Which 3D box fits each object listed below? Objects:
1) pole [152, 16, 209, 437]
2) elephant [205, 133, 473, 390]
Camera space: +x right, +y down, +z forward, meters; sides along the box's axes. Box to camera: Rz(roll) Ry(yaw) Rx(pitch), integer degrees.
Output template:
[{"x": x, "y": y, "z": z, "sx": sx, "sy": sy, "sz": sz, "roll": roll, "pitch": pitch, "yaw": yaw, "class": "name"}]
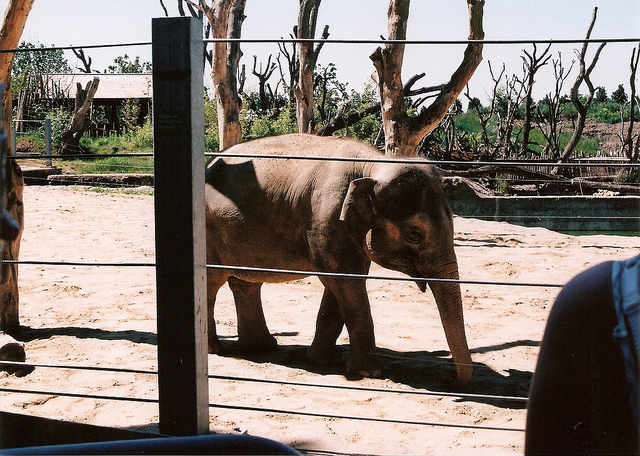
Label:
[{"x": -0.901, "y": 0.014, "z": 5.663, "sx": 0.342, "sy": 2.731, "sz": 0.503, "roll": -1, "pitch": 10, "yaw": -11, "class": "pole"}, {"x": 0.143, "y": -0.031, "z": 8.696, "sx": 3.173, "sy": 2.566, "sz": 1.325, "roll": 1, "pitch": 4, "yaw": 25, "class": "elephant"}]
